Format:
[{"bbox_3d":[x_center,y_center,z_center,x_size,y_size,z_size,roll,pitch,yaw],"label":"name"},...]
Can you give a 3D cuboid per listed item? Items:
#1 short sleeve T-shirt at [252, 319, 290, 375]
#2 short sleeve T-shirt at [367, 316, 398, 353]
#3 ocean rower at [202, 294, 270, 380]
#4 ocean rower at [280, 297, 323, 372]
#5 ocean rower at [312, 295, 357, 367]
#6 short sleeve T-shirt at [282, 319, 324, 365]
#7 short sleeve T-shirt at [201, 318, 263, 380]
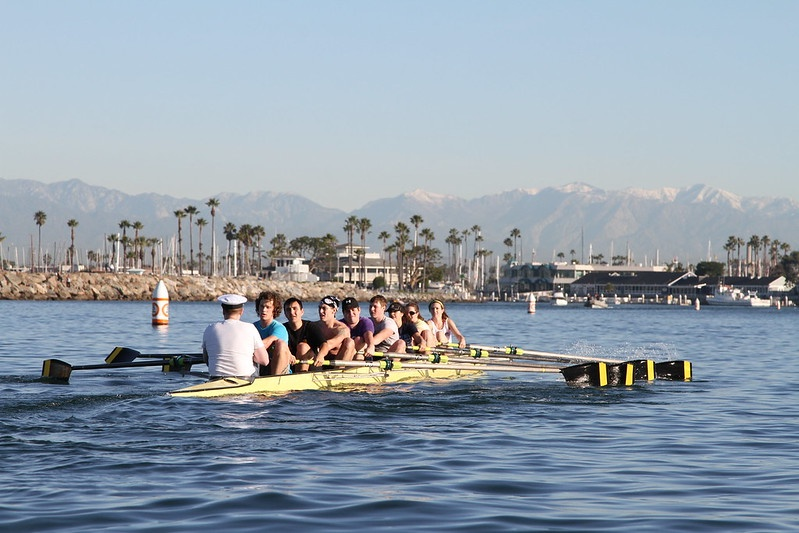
[{"bbox_3d":[-2.917,1.802,32.049,0.826,1.148,0.682,-22,-30,39],"label":"short sleeve T-shirt"},{"bbox_3d":[-0.364,1.604,34.445,0.780,0.733,0.663,-9,-16,-44],"label":"short sleeve T-shirt"},{"bbox_3d":[-3.638,1.871,32.040,1.464,2.521,1.861,0,-3,0],"label":"ocean rower"},{"bbox_3d":[-2.496,1.696,35.585,1.313,1.910,1.105,-7,-15,15],"label":"ocean rower"},{"bbox_3d":[-1.573,1.434,33.061,1.315,1.838,1.383,-3,-7,7],"label":"ocean rower"},{"bbox_3d":[-2.261,1.746,32.770,0.668,0.889,0.544,-24,-15,10],"label":"short sleeve T-shirt"},{"bbox_3d":[-3.866,1.920,31.813,1.109,1.297,1.269,7,-9,-34],"label":"short sleeve T-shirt"}]
